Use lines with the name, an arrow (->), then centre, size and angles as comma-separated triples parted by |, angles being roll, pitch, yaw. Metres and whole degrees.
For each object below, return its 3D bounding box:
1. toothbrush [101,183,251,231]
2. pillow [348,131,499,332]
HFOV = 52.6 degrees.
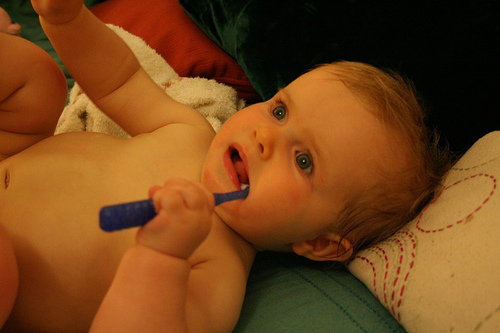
toothbrush -> -0.177, 0.086, 1.132 | 0.427, 0.035, 0.058 | -13, 95, -28
pillow -> 0.453, 0.168, 1.267 | 0.335, 0.266, 0.465 | 19, 62, 12
